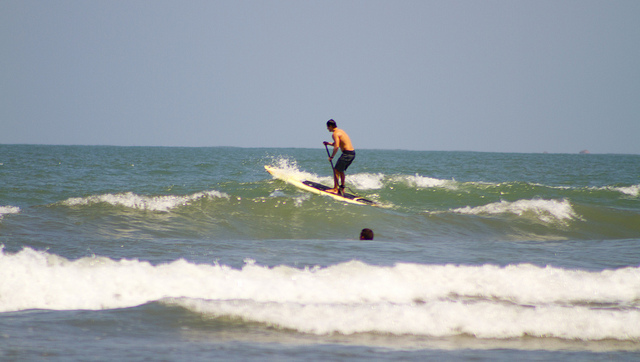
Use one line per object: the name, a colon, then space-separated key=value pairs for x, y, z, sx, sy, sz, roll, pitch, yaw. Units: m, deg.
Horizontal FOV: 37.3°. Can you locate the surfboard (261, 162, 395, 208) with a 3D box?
surfboard: x=0.244 y=0.194 z=45.264 sx=1.140 sy=0.439 sz=6.228 roll=9 pitch=7 yaw=-41

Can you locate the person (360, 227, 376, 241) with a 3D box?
person: x=1.960 y=2.126 z=39.254 sx=0.650 sy=0.429 sz=1.003 roll=-1 pitch=3 yaw=2
